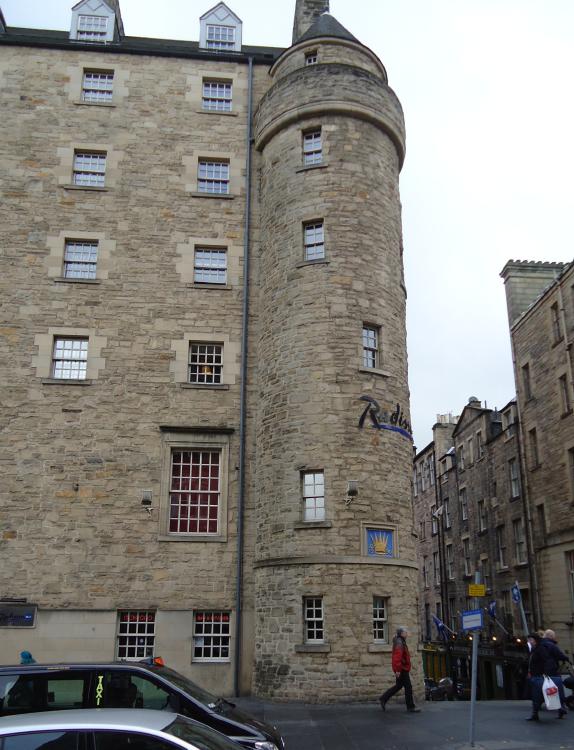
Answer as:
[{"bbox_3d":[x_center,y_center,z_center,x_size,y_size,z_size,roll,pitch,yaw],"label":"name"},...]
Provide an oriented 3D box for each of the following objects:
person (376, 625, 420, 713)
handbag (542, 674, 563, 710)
[{"bbox_3d":[2.199,5.982,13.740,0.723,1.614,1.560,-4,-19,9],"label":"person"},{"bbox_3d":[4.944,5.943,12.659,0.330,0.651,0.617,-8,-19,18],"label":"handbag"}]
